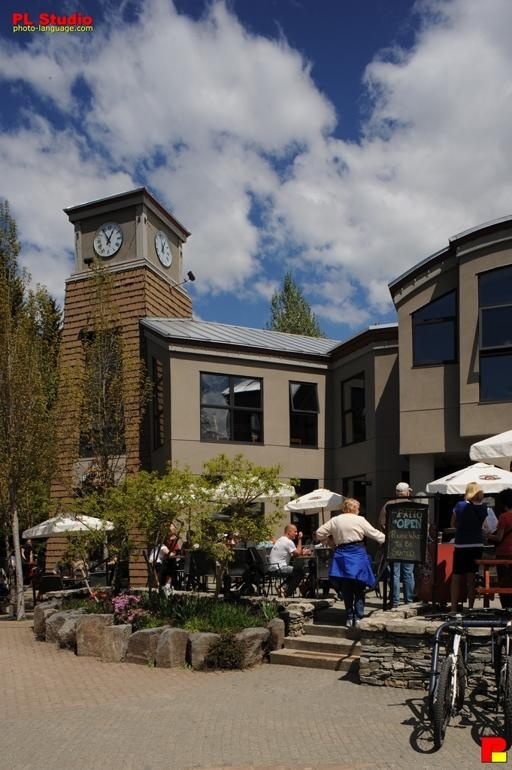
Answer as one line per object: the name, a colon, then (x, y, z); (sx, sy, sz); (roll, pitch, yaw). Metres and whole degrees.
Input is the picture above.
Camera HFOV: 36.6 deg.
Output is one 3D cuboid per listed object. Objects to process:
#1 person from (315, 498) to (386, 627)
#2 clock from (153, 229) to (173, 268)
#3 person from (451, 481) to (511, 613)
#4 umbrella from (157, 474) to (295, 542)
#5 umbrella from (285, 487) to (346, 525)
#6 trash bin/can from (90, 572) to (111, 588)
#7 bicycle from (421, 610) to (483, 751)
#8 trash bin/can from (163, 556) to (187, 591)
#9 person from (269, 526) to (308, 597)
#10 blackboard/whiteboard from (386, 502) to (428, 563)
person: (1.244, 2.310, 9.965); (0.850, 1.617, 0.582); (-4, -3, 18)
clock: (-2.860, -4.117, 23.443); (0.108, 1.156, 1.140); (-12, -28, 8)
person: (2.351, 1.809, 8.587); (0.450, 1.416, 0.655); (-4, -3, 14)
umbrella: (-0.523, 1.890, 11.985); (1.627, 0.973, 1.653); (0, -14, -15)
umbrella: (1.209, 2.367, 15.676); (1.003, 0.759, 1.005); (-3, -21, -2)
trash bin/can: (-3.422, 4.256, 16.916); (0.432, 0.372, 1.080); (-2, -4, -9)
bicycle: (1.651, 2.468, 6.441); (0.376, 0.973, 0.976); (-4, -4, 24)
trash bin/can: (-1.637, 3.734, 15.479); (0.513, 0.716, 0.727); (-2, -9, 6)
person: (0.527, 2.966, 12.951); (0.629, 1.165, 0.484); (3, -8, -9)
blackboard/whiteboard: (1.887, 1.849, 9.629); (0.682, 0.985, 0.096); (-6, -26, 33)
